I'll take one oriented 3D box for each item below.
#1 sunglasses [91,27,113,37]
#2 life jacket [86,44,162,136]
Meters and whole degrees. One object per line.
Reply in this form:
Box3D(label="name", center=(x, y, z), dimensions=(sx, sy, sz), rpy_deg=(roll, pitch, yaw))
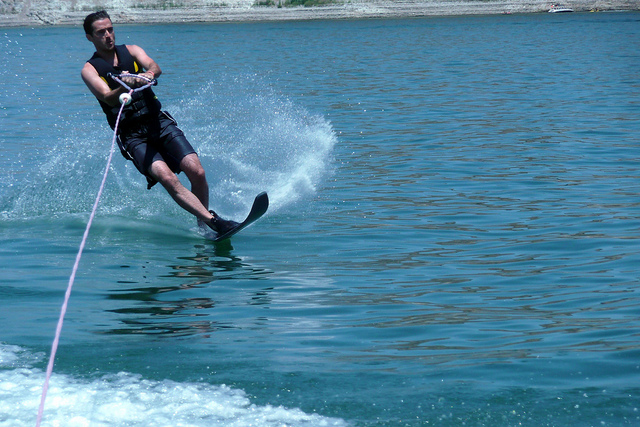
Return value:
Box3D(label="sunglasses", center=(-2.421, -2.053, 8.985), dimensions=(0.237, 0.097, 0.117), rpy_deg=(-21, 37, -35))
Box3D(label="life jacket", center=(-2.221, -1.367, 9.154), dimensions=(0.685, 1.122, 0.720), rpy_deg=(-9, 38, -9))
